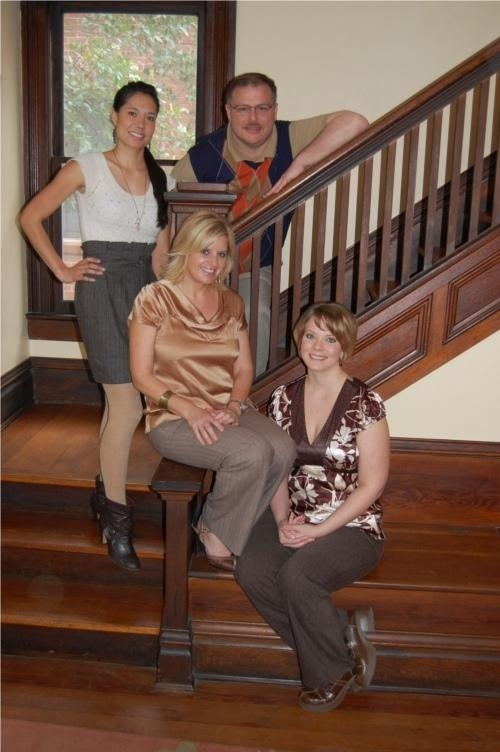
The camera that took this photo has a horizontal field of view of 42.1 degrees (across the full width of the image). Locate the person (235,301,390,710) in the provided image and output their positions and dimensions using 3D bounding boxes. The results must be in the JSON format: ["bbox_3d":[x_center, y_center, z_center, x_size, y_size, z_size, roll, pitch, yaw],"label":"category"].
[{"bbox_3d":[0.199,0.382,1.956,0.418,1.188,0.454,5,10,12],"label":"person"}]

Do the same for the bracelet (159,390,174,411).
[{"bbox_3d":[-0.247,0.071,1.980,0.043,0.052,0.052,8,35,-12],"label":"bracelet"}]

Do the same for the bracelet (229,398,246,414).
[{"bbox_3d":[-0.038,0.093,2.021,0.042,0.017,0.043,7,-23,47],"label":"bracelet"}]
